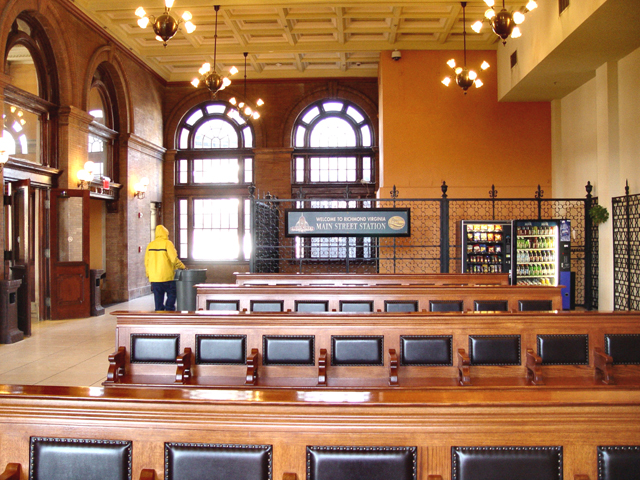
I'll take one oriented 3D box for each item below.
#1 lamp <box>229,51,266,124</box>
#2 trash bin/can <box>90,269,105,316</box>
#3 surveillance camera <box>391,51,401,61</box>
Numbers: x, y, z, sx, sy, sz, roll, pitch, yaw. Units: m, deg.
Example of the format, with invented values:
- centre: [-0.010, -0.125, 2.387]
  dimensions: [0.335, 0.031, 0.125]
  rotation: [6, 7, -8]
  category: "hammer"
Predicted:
- centre: [-2.168, -4.558, 19.298]
  dimensions: [0.770, 1.716, 0.760]
  rotation: [1, 2, -40]
  category: "lamp"
- centre: [-4.977, 1.163, 14.733]
  dimensions: [0.379, 0.925, 0.309]
  rotation: [-12, 6, -15]
  category: "trash bin/can"
- centre: [1.958, -4.691, 16.917]
  dimensions: [0.271, 0.218, 0.281]
  rotation: [1, 9, 6]
  category: "surveillance camera"
